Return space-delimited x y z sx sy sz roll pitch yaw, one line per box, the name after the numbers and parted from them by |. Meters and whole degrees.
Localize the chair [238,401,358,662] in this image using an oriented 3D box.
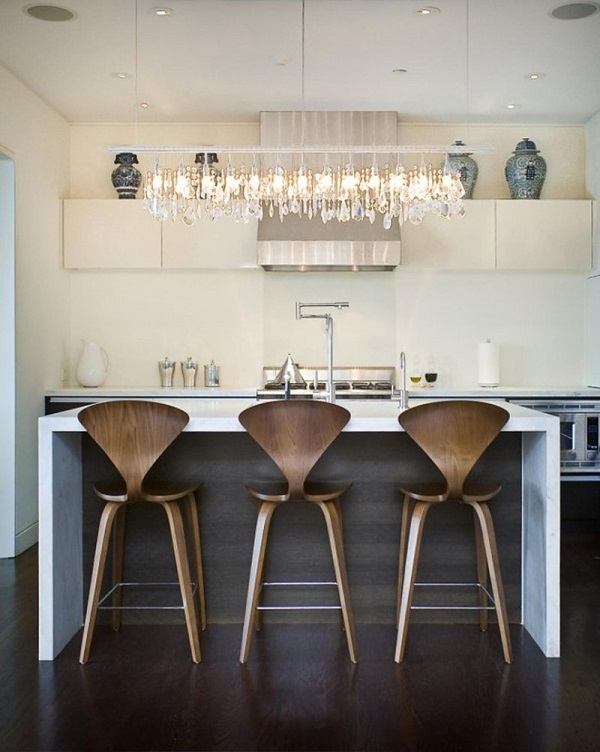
-0.011 0.530 2.567 0.419 0.921 0.487 0 2 -1 | chair

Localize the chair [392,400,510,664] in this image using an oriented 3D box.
0.570 0.531 2.587 0.422 0.921 0.506 0 2 10 | chair

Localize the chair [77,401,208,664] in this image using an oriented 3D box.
-0.575 0.562 2.605 0.382 0.989 0.452 -1 3 9 | chair

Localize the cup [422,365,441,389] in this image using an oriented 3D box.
0.905 -0.003 4.747 0.102 0.213 0.126 0 -2 -4 | cup
